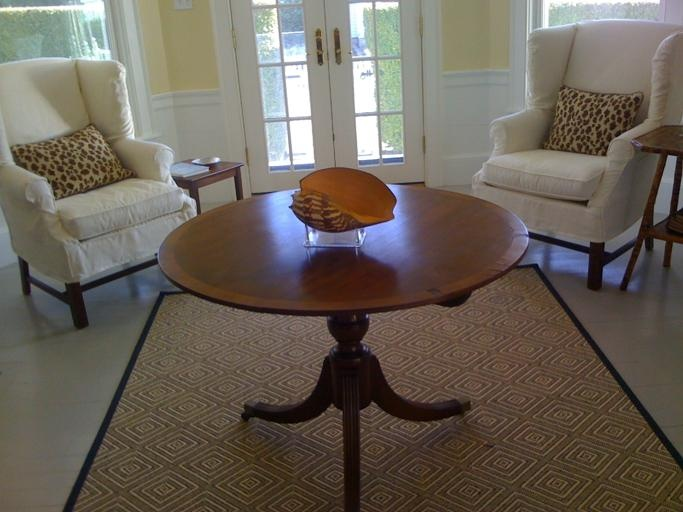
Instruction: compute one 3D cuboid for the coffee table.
[{"bbox_3d":[0.018,0.083,2.017,1.070,0.708,1.089,-1,27,-3],"label":"coffee table"}]
